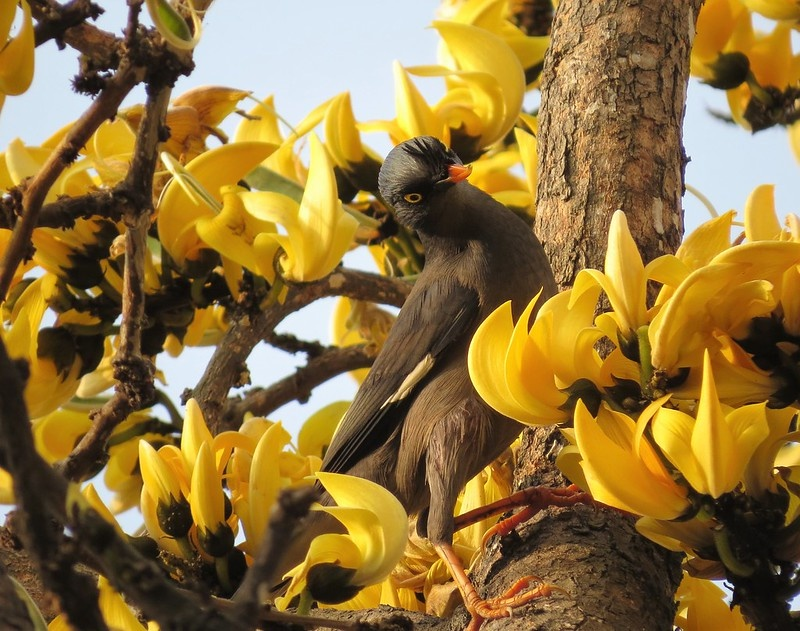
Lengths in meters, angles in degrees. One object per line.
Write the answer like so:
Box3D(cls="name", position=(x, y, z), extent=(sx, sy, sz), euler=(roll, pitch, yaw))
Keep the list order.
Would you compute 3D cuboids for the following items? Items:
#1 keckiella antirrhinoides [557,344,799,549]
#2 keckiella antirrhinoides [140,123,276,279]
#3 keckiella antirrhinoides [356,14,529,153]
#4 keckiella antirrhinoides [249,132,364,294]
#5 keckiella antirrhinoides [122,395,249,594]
Box3D(cls="keckiella antirrhinoides", position=(0.536, 0.281, 4.811), extent=(0.414, 0.386, 0.384), euler=(-7, -30, -5))
Box3D(cls="keckiella antirrhinoides", position=(-0.415, -0.248, 5.210), extent=(0.093, 0.368, 0.279), euler=(36, -89, 8))
Box3D(cls="keckiella antirrhinoides", position=(0.114, -0.540, 5.707), extent=(0.331, 0.286, 0.315), euler=(-24, -84, -17))
Box3D(cls="keckiella antirrhinoides", position=(-0.215, -0.215, 5.200), extent=(0.284, 0.298, 0.251), euler=(-6, -20, -32))
Box3D(cls="keckiella antirrhinoides", position=(-0.442, 0.353, 5.100), extent=(0.248, 0.344, 0.305), euler=(5, -54, -2))
